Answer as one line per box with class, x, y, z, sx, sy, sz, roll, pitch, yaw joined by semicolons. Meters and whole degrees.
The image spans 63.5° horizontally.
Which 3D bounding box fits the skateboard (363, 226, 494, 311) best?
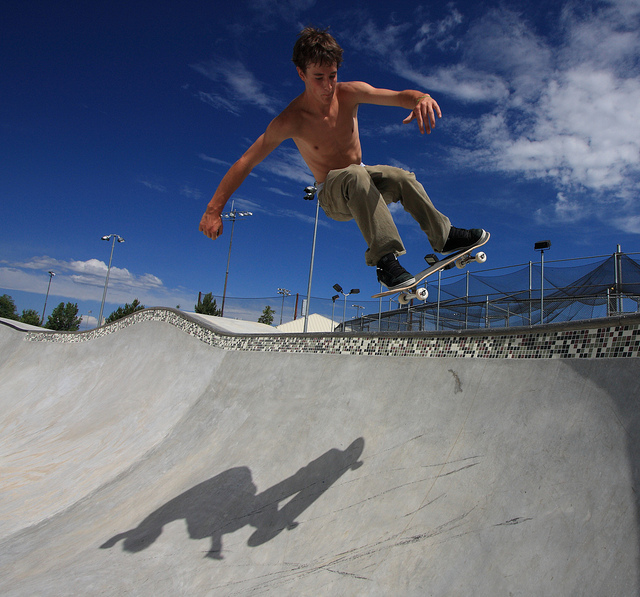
skateboard;1.413;-0.255;6.226;1.538;0.260;0.382;-29;-8;-30
